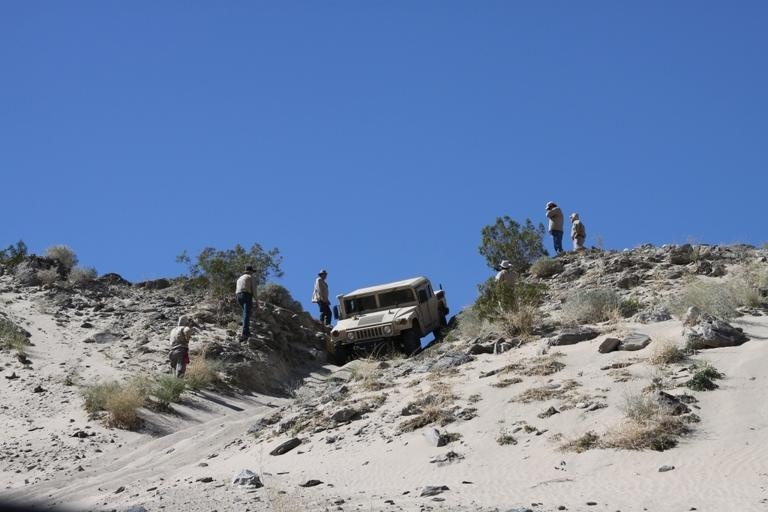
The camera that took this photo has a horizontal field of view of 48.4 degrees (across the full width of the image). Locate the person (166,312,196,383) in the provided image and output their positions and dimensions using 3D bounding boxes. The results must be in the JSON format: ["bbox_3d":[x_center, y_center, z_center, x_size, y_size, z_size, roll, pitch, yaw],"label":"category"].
[{"bbox_3d":[-5.807,2.550,23.820,0.738,1.247,0.752,-14,8,-38],"label":"person"}]

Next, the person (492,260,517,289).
[{"bbox_3d":[3.577,0.527,25.085,0.564,1.121,0.335,3,4,3],"label":"person"}]

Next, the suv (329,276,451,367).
[{"bbox_3d":[0.078,1.982,27.577,2.880,2.141,3.617,-7,8,24],"label":"suv"}]

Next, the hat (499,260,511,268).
[{"bbox_3d":[3.589,0.238,25.335,0.539,0.221,0.598,-1,-3,1],"label":"hat"}]
